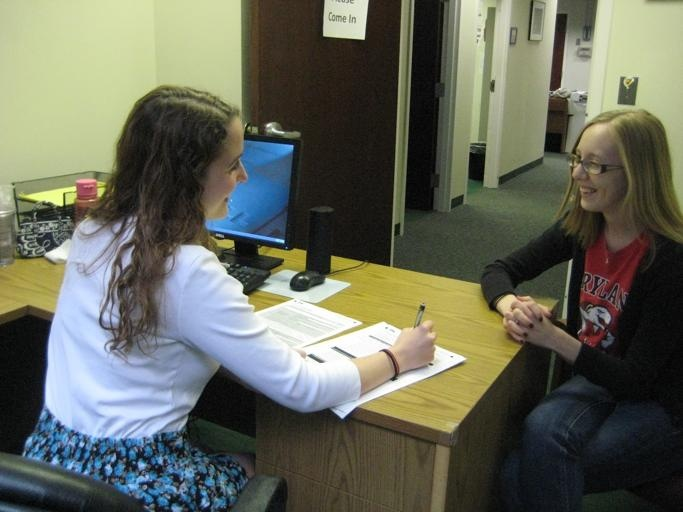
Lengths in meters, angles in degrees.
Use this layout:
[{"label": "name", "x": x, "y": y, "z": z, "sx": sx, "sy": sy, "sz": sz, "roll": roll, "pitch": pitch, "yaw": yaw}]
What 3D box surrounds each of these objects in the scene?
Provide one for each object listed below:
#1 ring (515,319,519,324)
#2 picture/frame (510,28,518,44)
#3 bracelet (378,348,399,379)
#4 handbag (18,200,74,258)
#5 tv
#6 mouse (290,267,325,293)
[{"label": "ring", "x": 0.527, "y": 0.194, "z": 1.655, "sx": 0.004, "sy": 0.016, "sz": 0.011, "roll": 2, "pitch": -3, "yaw": -27}, {"label": "picture/frame", "x": 2.071, "y": -2.661, "z": 6.644, "sx": 0.020, "sy": 0.223, "sz": 0.208, "roll": 7, "pitch": 17, "yaw": 29}, {"label": "bracelet", "x": 0.116, "y": 0.277, "z": 1.436, "sx": 0.015, "sy": 0.064, "sz": 0.062, "roll": -7, "pitch": -11, "yaw": -8}, {"label": "handbag", "x": -1.156, "y": -0.101, "z": 2.159, "sx": 0.078, "sy": 0.197, "sz": 0.189, "roll": 7, "pitch": 12, "yaw": 38}, {"label": "tv", "x": -0.293, "y": -0.196, "z": 1.843, "sx": 0.382, "sy": 0.477, "sz": 0.146, "roll": 15, "pitch": 11, "yaw": 25}, {"label": "mouse", "x": -0.124, "y": 0.081, "z": 1.992, "sx": 0.055, "sy": 0.042, "sz": 0.111, "roll": 7, "pitch": 16, "yaw": 26}]
